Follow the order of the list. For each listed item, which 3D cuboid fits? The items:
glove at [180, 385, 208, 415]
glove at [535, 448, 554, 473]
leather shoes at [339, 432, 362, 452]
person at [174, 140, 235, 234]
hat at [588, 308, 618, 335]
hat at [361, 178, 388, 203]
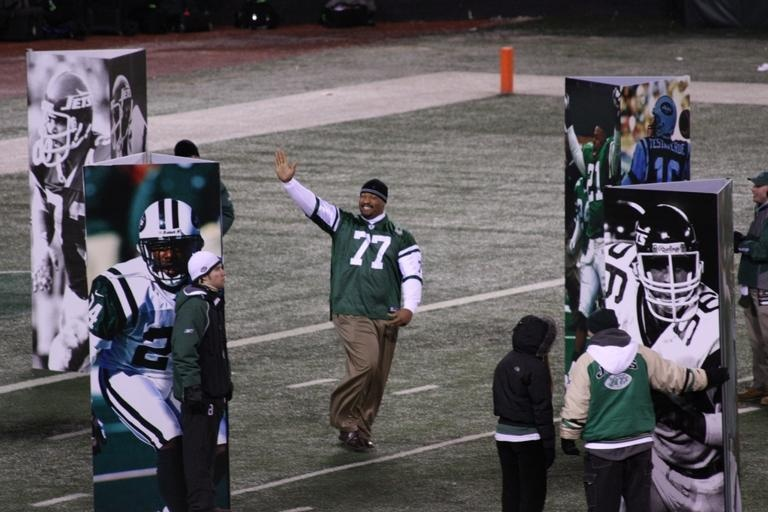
[{"bbox_3d":[-2.563,1.950,25.290,0.331,0.480,0.518,-3,14,-9],"label":"glove"},{"bbox_3d":[2.243,2.761,25.446,0.111,0.291,0.222,4,13,-32],"label":"glove"},{"bbox_3d":[-0.501,2.707,27.492,0.393,0.282,0.111,4,13,31],"label":"leather shoes"},{"bbox_3d":[-2.644,-1.030,28.906,1.250,1.539,0.447,6,4,4],"label":"person"},{"bbox_3d":[2.991,0.866,25.341,0.311,0.349,0.405,4,5,-43],"label":"hat"},{"bbox_3d":[-0.062,-0.985,27.754,0.394,0.296,0.384,30,-4,-19],"label":"hat"}]
